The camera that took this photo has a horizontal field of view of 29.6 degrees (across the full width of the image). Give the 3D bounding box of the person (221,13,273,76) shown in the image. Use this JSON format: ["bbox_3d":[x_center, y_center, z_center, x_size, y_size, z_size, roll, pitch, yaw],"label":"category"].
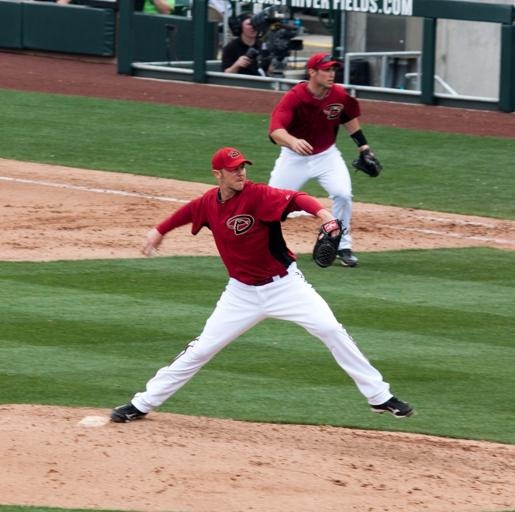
[{"bbox_3d":[-0.262,-3.566,16.682,0.602,0.969,1.091,1,5,-29],"label":"person"}]

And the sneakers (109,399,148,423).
[{"bbox_3d":[-0.839,0.988,6.135,0.297,0.087,0.091,-1,31,-15],"label":"sneakers"}]

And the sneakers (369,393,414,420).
[{"bbox_3d":[0.825,0.923,5.996,0.315,0.090,0.117,0,16,17],"label":"sneakers"}]
